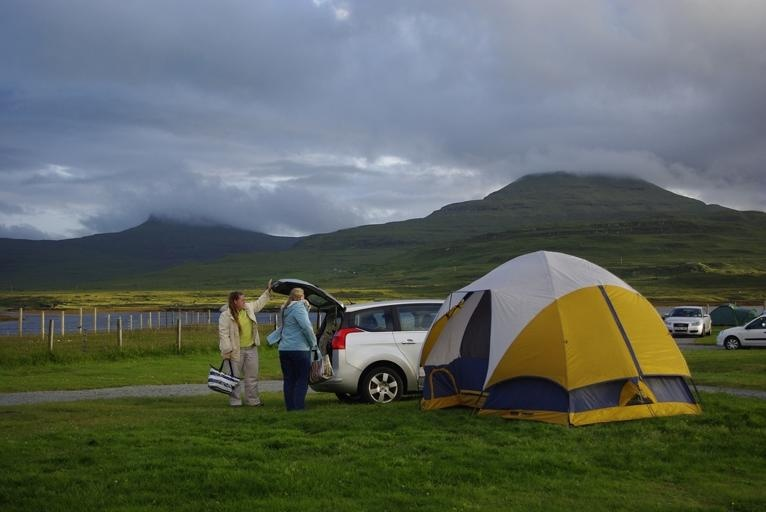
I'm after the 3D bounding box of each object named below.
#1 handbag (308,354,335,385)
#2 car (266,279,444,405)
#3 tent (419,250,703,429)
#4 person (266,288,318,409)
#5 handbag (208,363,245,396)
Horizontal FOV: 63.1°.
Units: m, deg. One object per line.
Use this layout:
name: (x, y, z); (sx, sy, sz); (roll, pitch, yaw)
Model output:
handbag: (-1.563, 2.895, 15.763); (0.772, 0.726, 0.539); (-1, -3, 44)
car: (-0.629, 2.463, 17.088); (4.813, 2.053, 2.777); (-3, -2, -21)
tent: (3.993, 2.216, 15.895); (4.894, 2.943, 5.270); (3, -7, -42)
person: (-2.246, 2.335, 15.872); (1.249, 3.058, 0.833); (-2, -6, 4)
handbag: (-4.086, 3.198, 16.124); (0.780, 0.886, 0.745); (0, -6, -13)
